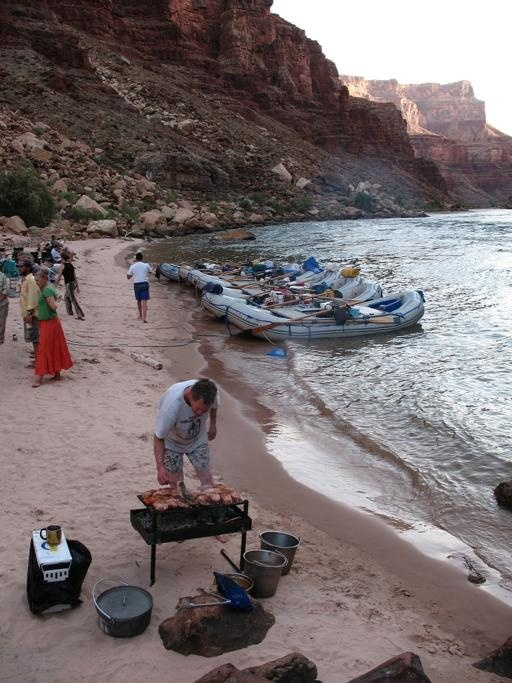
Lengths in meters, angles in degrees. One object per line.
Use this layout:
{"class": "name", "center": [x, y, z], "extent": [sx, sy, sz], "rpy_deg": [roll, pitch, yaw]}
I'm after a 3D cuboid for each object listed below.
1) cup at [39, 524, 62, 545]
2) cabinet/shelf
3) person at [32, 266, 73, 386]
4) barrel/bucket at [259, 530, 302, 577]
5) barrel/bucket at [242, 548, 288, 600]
{"class": "cup", "center": [-1.513, 1.461, 4.902], "extent": [0.198, 0.146, 0.116], "rpy_deg": [2, 6, 6]}
{"class": "cabinet/shelf", "center": [-0.769, 1.592, 5.429], "extent": [0.525, 0.488, 0.843], "rpy_deg": [-1, 0, -30]}
{"class": "person", "center": [-3.101, -0.175, 9.634], "extent": [0.537, 1.785, 0.645], "rpy_deg": [-3, 14, -8]}
{"class": "barrel/bucket", "center": [0.182, 1.839, 5.611], "extent": [0.393, 0.242, 0.328], "rpy_deg": [2, 12, -4]}
{"class": "barrel/bucket", "center": [0.051, 1.872, 5.214], "extent": [0.381, 0.262, 0.324], "rpy_deg": [2, 4, -11]}
